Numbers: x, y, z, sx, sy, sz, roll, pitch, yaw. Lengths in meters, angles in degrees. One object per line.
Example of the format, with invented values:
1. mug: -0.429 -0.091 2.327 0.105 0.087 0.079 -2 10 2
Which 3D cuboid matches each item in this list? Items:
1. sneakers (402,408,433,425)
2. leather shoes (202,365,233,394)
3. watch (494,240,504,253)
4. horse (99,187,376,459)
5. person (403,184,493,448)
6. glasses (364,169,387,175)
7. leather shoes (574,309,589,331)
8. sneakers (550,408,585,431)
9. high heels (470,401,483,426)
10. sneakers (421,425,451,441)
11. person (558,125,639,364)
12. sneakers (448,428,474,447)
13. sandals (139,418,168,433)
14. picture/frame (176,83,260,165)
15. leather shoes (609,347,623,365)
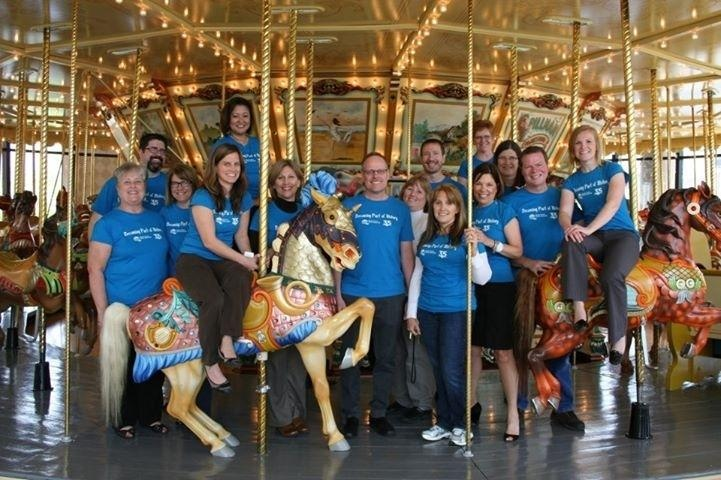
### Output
1. sneakers: 0.632 1.929 7.012 0.358 0.136 0.124 5 -2 -16
2. leather shoes: -1.347 1.311 6.095 0.199 0.364 0.103 -25 13 -16
3. watch: 1.408 0.071 6.505 0.094 0.101 0.076 -4 -12 11
4. horse: -1.215 0.779 6.290 2.795 2.410 0.954 -1 -6 -3
5. person: 0.781 0.735 6.457 0.654 2.540 0.472 2 7 13
6. glasses: 0.162 -0.687 6.537 0.213 0.057 0.081 -1 7 -10
7. leather shoes: 2.243 0.811 6.518 0.134 0.234 0.171 3 7 18
8. sneakers: 2.213 1.927 6.905 0.142 0.144 0.364 1 -1 -37
9. high heels: 1.258 1.872 6.908 0.117 0.312 0.122 2 4 -35
10. sneakers: 0.765 1.949 6.516 0.309 0.127 0.115 0 -3 -11
11. person: 2.445 0.016 6.632 0.780 2.366 0.785 4 8 27
12. sneakers: 0.989 1.947 6.364 0.116 0.113 0.281 -7 -18 24
13. sandals: -2.131 1.930 6.695 0.307 0.066 0.122 3 1 33
14. picture/frame: -2.703 -2.202 12.082 0.216 1.554 1.991 1 12 39
15. leather shoes: 2.612 1.172 6.497 0.182 0.166 0.170 2 -9 -2
